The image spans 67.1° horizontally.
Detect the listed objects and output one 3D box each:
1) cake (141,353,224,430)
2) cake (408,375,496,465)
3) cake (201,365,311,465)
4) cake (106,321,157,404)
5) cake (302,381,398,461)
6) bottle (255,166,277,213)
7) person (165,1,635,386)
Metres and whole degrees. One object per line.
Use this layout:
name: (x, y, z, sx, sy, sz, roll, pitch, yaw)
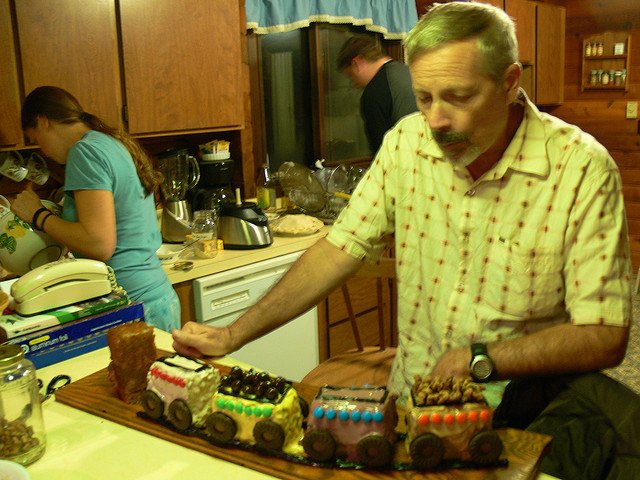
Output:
cake: (-0.291, 0.321, 1.064, 0.149, 0.115, 0.145, 9, 19, 29)
cake: (0.248, 0.327, 0.952, 0.153, 0.146, 0.153, 0, 9, 3)
cake: (-0.123, 0.350, 1.004, 0.207, 0.122, 0.129, 7, 17, 16)
cake: (-0.438, 0.282, 1.151, 0.098, 0.168, 0.126, 1, 13, -26)
cake: (0.059, 0.349, 0.951, 0.197, 0.096, 0.196, -1, 6, -27)
bottle: (-0.364, -0.334, 3.198, 0.128, 0.353, 0.129, -2, -11, 0)
person: (0.293, -0.022, 1.225, 0.867, 1.077, 0.514, 4, 16, 28)
